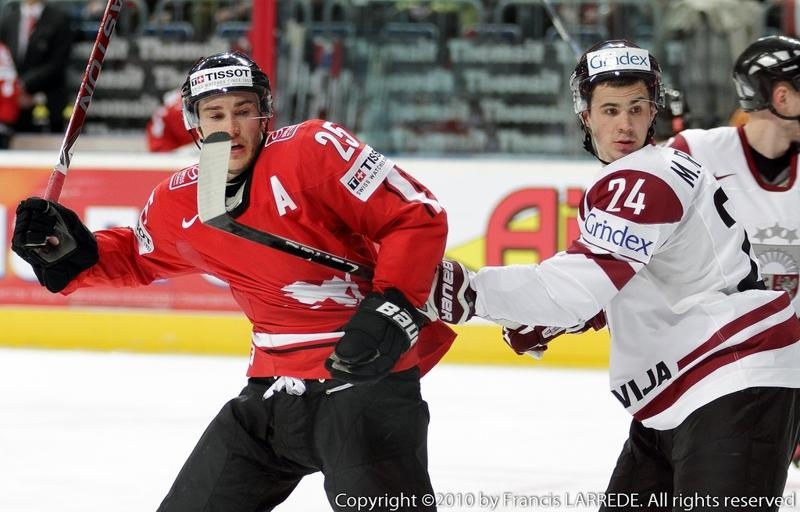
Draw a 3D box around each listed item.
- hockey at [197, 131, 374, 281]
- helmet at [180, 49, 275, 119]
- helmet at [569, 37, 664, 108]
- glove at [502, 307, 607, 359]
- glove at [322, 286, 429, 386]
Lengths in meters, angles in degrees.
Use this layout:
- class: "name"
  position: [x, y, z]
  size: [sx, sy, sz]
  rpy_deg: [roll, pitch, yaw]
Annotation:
- class: "hockey"
  position: [-0.517, -0.146, 5.158]
  size: [0.811, 0.248, 0.358]
  rpy_deg: [29, -14, 3]
- class: "helmet"
  position: [-0.763, -0.745, 5.327]
  size: [0.292, 0.289, 0.344]
  rpy_deg: [-11, -23, -8]
- class: "helmet"
  position: [0.927, -0.821, 5.296]
  size: [0.310, 0.311, 0.339]
  rpy_deg: [0, -32, 1]
- class: "glove"
  position: [0.711, 0.365, 5.709]
  size: [0.354, 0.107, 0.270]
  rpy_deg: [-9, 1, 3]
- class: "glove"
  position: [-0.100, 0.336, 5.116]
  size: [0.275, 0.458, 0.184]
  rpy_deg: [33, -20, 13]
